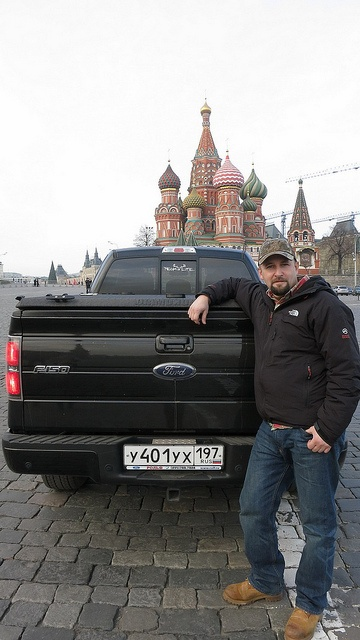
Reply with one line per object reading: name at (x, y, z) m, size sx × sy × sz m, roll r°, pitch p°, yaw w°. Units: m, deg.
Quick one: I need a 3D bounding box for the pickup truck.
pickup truck at (-0.202, 0.205, 3.729) m, size 1.279 × 1.308 × 2.661 m, roll 0°, pitch 5°, yaw 0°

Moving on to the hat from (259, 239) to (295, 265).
hat at (0.441, -0.323, 2.305) m, size 0.104 × 0.084 × 0.154 m, roll -5°, pitch -9°, yaw 13°
